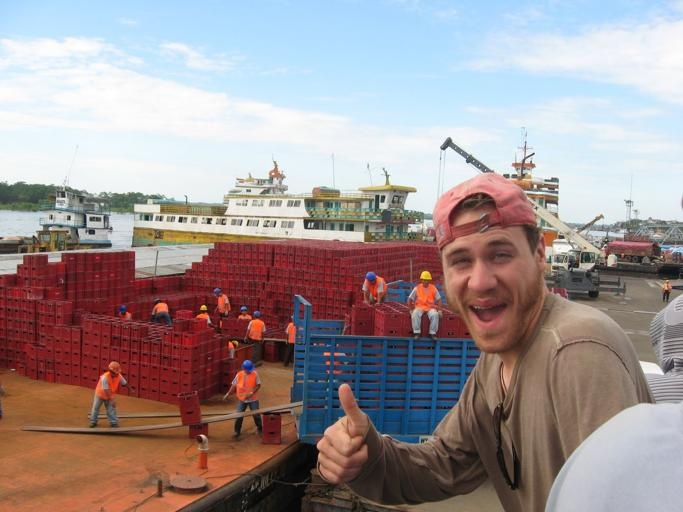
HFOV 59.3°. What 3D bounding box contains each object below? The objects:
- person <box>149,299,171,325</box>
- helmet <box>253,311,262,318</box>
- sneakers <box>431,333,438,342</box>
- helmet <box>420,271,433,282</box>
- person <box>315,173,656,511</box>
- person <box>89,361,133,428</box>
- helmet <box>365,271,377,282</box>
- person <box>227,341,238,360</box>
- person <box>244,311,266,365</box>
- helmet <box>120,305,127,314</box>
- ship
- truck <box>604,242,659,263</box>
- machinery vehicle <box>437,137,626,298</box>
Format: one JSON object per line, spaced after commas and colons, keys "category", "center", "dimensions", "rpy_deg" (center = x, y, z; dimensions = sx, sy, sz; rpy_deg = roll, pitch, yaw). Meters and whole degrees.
{"category": "person", "center": [-4.953, 1.620, 16.263], "dimensions": [0.500, 0.346, 1.191], "rpy_deg": [-2, -32, -13]}
{"category": "helmet", "center": [-2.168, 1.491, 15.119], "dimensions": [0.221, 0.205, 0.275], "rpy_deg": [2, 12, -10]}
{"category": "sneakers", "center": [1.368, 1.184, 8.728], "dimensions": [0.111, 0.155, 0.115], "rpy_deg": [-1, 6, 9]}
{"category": "helmet", "center": [1.411, 0.337, 9.909], "dimensions": [0.188, 0.112, 0.221], "rpy_deg": [1, 0, 1]}
{"category": "person", "center": [0.614, 0.462, 2.508], "dimensions": [0.915, 1.632, 1.137], "rpy_deg": [-1, 5, -37]}
{"category": "person", "center": [-4.186, 2.353, 10.593], "dimensions": [0.581, 1.137, 1.651], "rpy_deg": [1, 4, -20]}
{"category": "helmet", "center": [0.555, 0.399, 11.935], "dimensions": [0.167, 0.146, 0.209], "rpy_deg": [31, -4, -36]}
{"category": "person", "center": [-2.377, 1.976, 12.877], "dimensions": [0.205, 0.339, 0.731], "rpy_deg": [1, 4, -10]}
{"category": "person", "center": [-2.178, 2.062, 14.810], "dimensions": [0.438, 1.299, 1.759], "rpy_deg": [2, 4, -8]}
{"category": "helmet", "center": [-5.306, 1.282, 14.342], "dimensions": [0.175, 0.197, 0.207], "rpy_deg": [11, -34, -23]}
{"category": "ship", "center": [-5.427, -3.565, 42.886], "dimensions": [18.343, 4.553, 4.563], "rpy_deg": [1, 8, 11]}
{"category": "truck", "center": [23.331, -0.425, 47.325], "dimensions": [2.638, 1.106, 2.306], "rpy_deg": [5, 6, 36]}
{"category": "machinery vehicle", "center": [10.573, -1.777, 32.211], "dimensions": [12.356, 7.595, 3.713], "rpy_deg": [1, 4, -26]}
